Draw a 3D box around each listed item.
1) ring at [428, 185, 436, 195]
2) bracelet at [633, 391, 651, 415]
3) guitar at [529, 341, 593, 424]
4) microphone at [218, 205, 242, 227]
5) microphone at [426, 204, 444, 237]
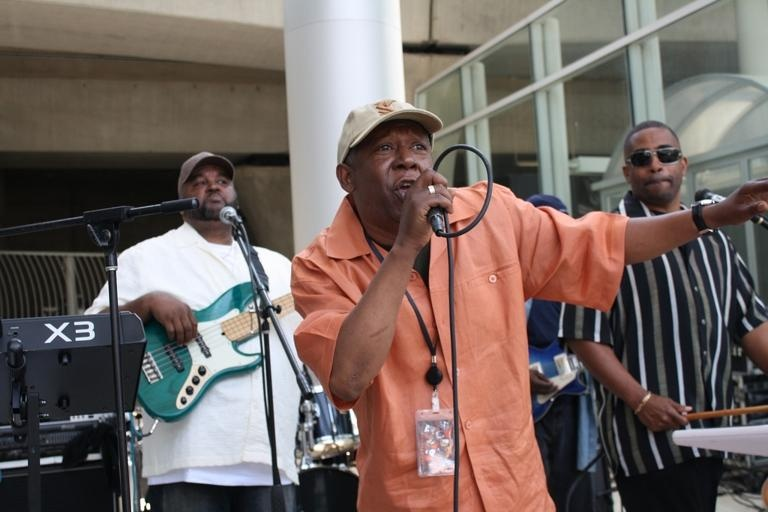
[{"bbox_3d":[0.263,-0.372,6.158,0.032,0.057,0.061,-15,6,25],"label":"ring"},{"bbox_3d":[1.649,0.942,7.094,0.027,0.118,0.117,36,11,17],"label":"bracelet"},{"bbox_3d":[1.340,0.736,8.148,0.424,0.105,1.036,32,25,-8],"label":"guitar"},{"bbox_3d":[-1.055,-0.276,7.601,0.083,0.117,0.182,-23,14,-19],"label":"microphone"},{"bbox_3d":[0.299,-0.194,6.143,0.112,0.163,0.055,-2,-5,-20],"label":"microphone"}]
